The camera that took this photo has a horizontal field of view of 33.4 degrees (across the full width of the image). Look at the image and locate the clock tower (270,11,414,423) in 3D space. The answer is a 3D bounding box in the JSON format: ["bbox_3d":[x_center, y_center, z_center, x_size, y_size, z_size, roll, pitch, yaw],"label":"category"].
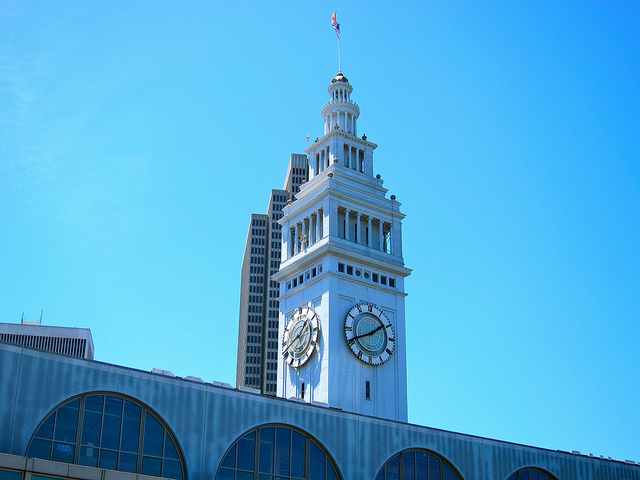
[{"bbox_3d":[2.806,-1.123,123.236,13.467,44.532,7.991,2,-30,0],"label":"clock tower"}]
